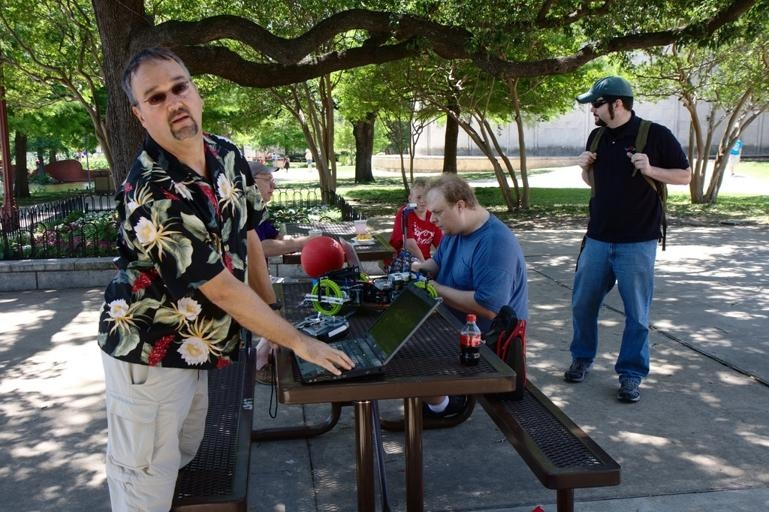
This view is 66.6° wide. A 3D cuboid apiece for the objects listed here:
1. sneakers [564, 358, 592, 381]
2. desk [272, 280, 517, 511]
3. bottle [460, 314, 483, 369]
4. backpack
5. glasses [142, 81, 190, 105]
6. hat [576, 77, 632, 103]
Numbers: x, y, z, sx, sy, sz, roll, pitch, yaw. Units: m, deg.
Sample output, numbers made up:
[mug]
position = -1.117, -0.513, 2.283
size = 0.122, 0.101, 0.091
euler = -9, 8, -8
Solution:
[sneakers]
position = 1.939, 1.159, 5.931
size = 0.141, 0.142, 0.368
euler = 0, 1, 40
[desk]
position = 0.034, 0.774, 3.898
size = 1.258, 1.021, 2.207
euler = -1, 6, -8
[bottle]
position = 0.528, 0.515, 3.663
size = 0.124, 0.259, 0.243
euler = -2, 12, 6
[backpack]
position = 2.328, -0.787, 5.651
size = 0.687, 1.028, 0.323
euler = 1, 14, 20
[glasses]
position = -1.182, -0.902, 3.237
size = 0.242, 0.118, 0.036
euler = -7, 13, -20
[hat]
position = 2.087, -1.583, 5.607
size = 0.430, 0.202, 0.272
euler = 4, 18, 17
